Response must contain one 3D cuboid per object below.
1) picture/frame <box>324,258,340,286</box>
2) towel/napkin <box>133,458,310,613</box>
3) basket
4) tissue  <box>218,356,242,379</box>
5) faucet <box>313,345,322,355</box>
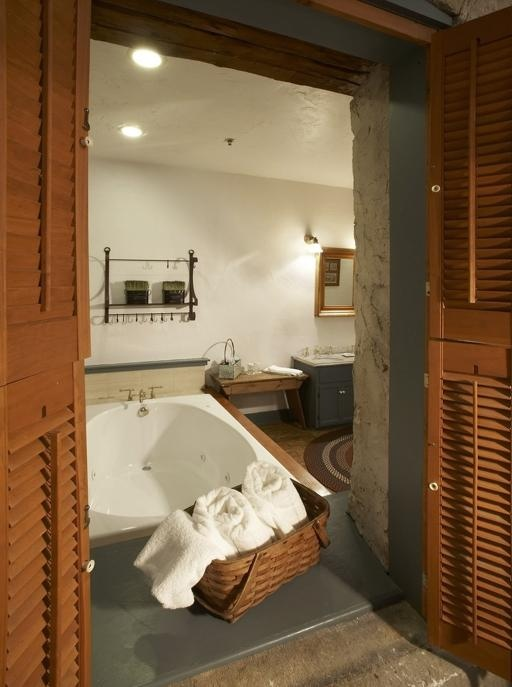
[{"bbox_3d":[0.658,-0.630,4.376,0.231,0.272,0.020,-2,5,-36],"label":"picture/frame"},{"bbox_3d":[-0.037,0.457,1.292,0.478,0.214,0.266,-21,22,-31],"label":"towel/napkin"},{"bbox_3d":[0.018,0.498,1.288,0.334,0.154,0.233,-8,6,-39],"label":"basket"},{"bbox_3d":[-0.209,0.159,3.793,0.118,0.159,0.217,0,8,3],"label":"tissue "},{"bbox_3d":[0.545,0.064,4.399,0.087,0.082,0.025,-7,13,-32],"label":"faucet"}]
